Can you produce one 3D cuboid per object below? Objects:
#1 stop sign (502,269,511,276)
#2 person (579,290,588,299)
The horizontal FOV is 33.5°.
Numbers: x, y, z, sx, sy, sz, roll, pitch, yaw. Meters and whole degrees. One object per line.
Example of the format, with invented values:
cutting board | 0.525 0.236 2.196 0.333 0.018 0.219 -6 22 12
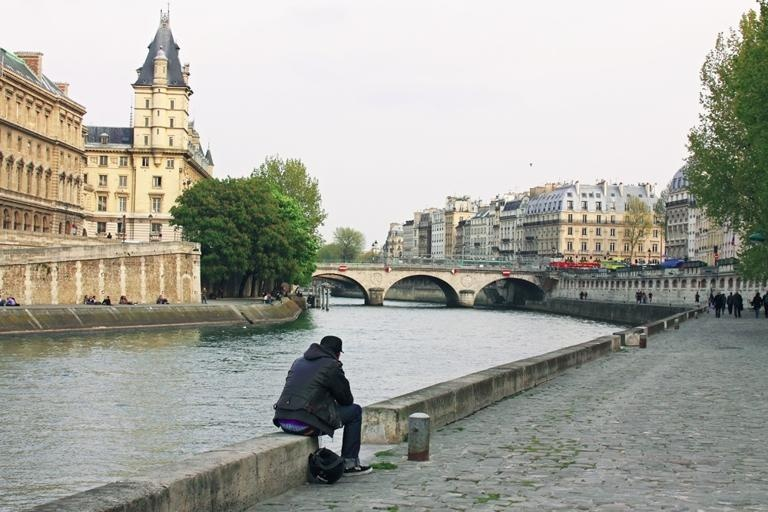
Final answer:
stop sign | 14.915 2.033 155.317 0.867 0.568 0.744 -2 -7 2
person | 22.551 4.375 144.000 0.976 0.880 0.496 5 -2 1
